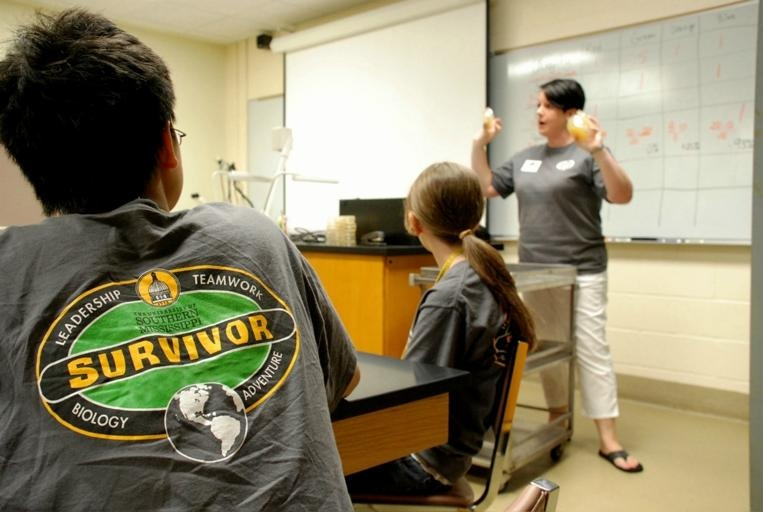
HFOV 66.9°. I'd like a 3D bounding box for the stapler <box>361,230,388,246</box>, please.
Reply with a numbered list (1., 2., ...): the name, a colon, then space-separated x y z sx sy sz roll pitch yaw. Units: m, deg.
1. stapler: -0.028 -0.110 3.582 0.079 0.062 0.144 -1 -1 -36
